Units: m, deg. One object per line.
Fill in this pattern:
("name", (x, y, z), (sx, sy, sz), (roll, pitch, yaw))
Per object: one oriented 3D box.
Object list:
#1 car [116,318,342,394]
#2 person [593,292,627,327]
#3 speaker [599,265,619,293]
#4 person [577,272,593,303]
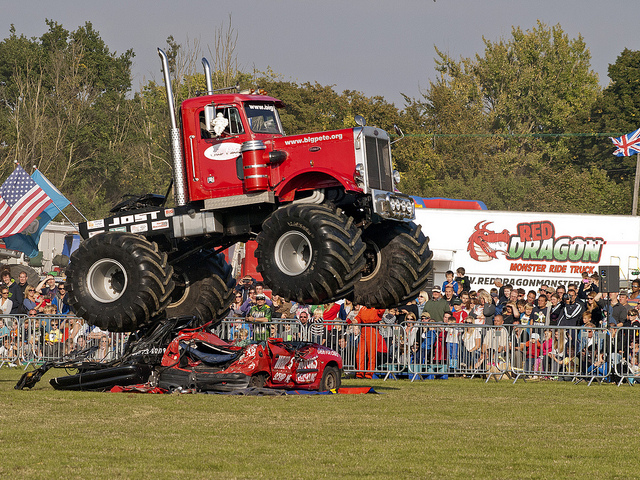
("car", (-2.264, 3.319, 38.118), (4.276, 1.333, 2.424), (1, -3, 17))
("person", (8.593, 2.124, 42.709), (0.868, 1.016, 1.668), (1, -4, 3))
("speaker", (8.442, 1.210, 42.433), (0.533, 0.789, 0.431), (1, -4, 8))
("person", (8.354, 1.503, 45.462), (0.313, 0.813, 0.874), (0, -2, 42))
